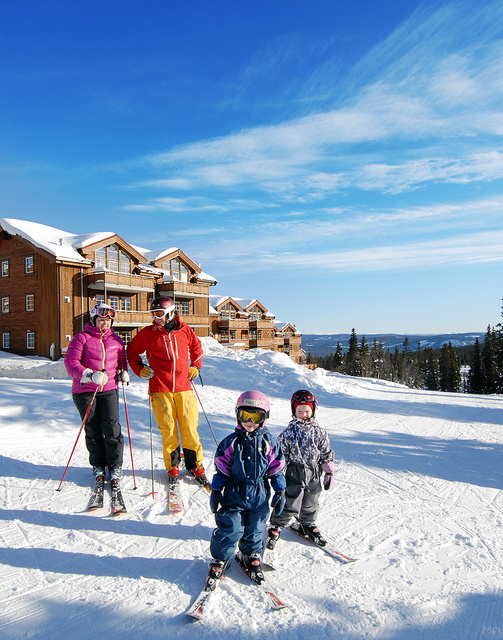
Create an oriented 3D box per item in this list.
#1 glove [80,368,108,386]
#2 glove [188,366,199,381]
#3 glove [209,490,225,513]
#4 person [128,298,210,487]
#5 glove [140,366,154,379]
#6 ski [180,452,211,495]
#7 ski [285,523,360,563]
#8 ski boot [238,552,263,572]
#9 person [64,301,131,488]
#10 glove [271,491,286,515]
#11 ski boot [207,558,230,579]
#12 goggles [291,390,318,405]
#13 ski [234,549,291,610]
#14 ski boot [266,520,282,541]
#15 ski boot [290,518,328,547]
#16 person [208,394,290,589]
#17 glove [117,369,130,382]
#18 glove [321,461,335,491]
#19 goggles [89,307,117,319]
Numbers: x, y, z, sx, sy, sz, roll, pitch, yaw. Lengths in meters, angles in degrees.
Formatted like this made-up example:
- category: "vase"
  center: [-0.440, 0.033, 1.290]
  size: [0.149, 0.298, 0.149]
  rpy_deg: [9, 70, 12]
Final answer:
- category: "glove"
  center: [-1.707, 0.621, 6.179]
  size: [0.236, 0.164, 0.094]
  rpy_deg: [9, 2, 21]
- category: "glove"
  center: [-0.711, 0.629, 6.845]
  size: [0.141, 0.127, 0.058]
  rpy_deg: [14, -2, -43]
- category: "glove"
  center: [-0.295, 1.522, 4.855]
  size: [0.116, 0.190, 0.093]
  rpy_deg: [0, 3, -37]
- category: "person"
  center: [-0.957, 0.786, 6.643]
  size: [0.926, 2.049, 0.768]
  rpy_deg: [4, 4, -11]
- category: "glove"
  center: [-1.207, 0.599, 6.495]
  size: [0.137, 0.133, 0.178]
  rpy_deg: [5, 3, 11]
- category: "ski"
  center: [-0.668, 1.815, 6.738]
  size: [0.484, 0.109, 0.149]
  rpy_deg: [46, 8, 8]
- category: "ski"
  center: [0.670, 2.108, 5.488]
  size: [0.125, 0.077, 1.105]
  rpy_deg: [5, -4, -27]
- category: "ski boot"
  center: [-0.001, 2.072, 4.925]
  size: [0.089, 0.106, 0.269]
  rpy_deg: [22, -21, -13]
- category: "person"
  center: [-1.769, 0.825, 6.472]
  size: [0.707, 1.980, 0.752]
  rpy_deg: [4, 4, -12]
- category: "glove"
  center: [0.245, 1.611, 5.097]
  size: [0.093, 0.224, 0.106]
  rpy_deg: [4, -9, -5]
- category: "ski boot"
  center: [-0.295, 2.058, 4.768]
  size: [0.085, 0.099, 0.231]
  rpy_deg: [18, -26, 6]
- category: "goggles"
  center: [0.540, 0.775, 5.727]
  size: [0.168, 0.183, 0.107]
  rpy_deg: [0, 12, 9]
- category: "ski"
  center: [0.106, 2.203, 4.767]
  size: [0.128, 0.050, 0.702]
  rpy_deg: [6, -5, -22]
- category: "ski boot"
  center: [0.218, 2.001, 5.448]
  size: [0.171, 0.186, 0.207]
  rpy_deg: [9, -23, 8]
- category: "ski boot"
  center: [0.587, 2.057, 5.621]
  size: [0.141, 0.173, 0.469]
  rpy_deg: [26, -8, -42]
- category: "person"
  center: [0.001, 1.420, 4.978]
  size: [0.841, 1.524, 0.615]
  rpy_deg: [3, 4, -24]
- category: "glove"
  center: [-1.517, 0.642, 6.716]
  size: [0.118, 0.131, 0.149]
  rpy_deg: [10, -10, -12]
- category: "glove"
  center: [0.787, 1.514, 5.596]
  size: [0.123, 0.247, 0.170]
  rpy_deg: [11, -16, -16]
- category: "goggles"
  center: [-1.698, -0.084, 6.661]
  size: [0.213, 0.135, 0.436]
  rpy_deg: [5, 4, 22]
